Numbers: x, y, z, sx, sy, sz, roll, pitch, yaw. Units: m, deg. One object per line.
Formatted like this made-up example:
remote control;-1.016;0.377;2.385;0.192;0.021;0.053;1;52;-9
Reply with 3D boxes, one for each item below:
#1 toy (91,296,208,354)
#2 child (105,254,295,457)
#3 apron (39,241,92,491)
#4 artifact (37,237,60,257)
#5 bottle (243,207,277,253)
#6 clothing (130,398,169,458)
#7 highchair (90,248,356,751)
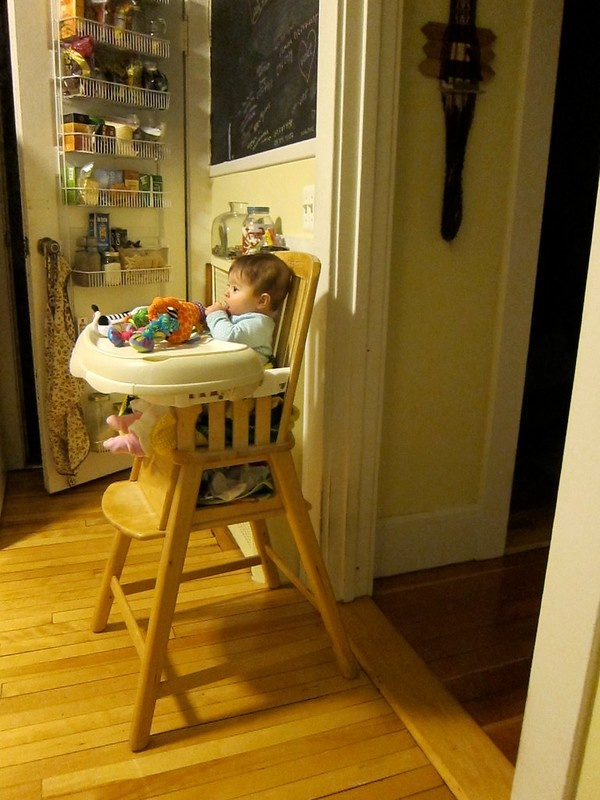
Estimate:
toy;-0.270;-0.151;1.264;0.169;0.084;0.234;-3;15;-11
child;-0.191;-0.145;1.509;0.322;0.365;0.160;-5;29;-16
apron;-0.869;-0.141;2.446;0.150;0.877;0.077;-9;17;-32
artifact;-0.877;-0.538;2.345;0.070;0.064;0.038;-10;17;-33
bottle;-0.115;-0.501;1.962;0.101;0.131;0.228;-2;15;-9
clothing;-0.276;0.056;1.337;0.046;0.110;0.088;15;-5;-35
highchair;-0.163;0.162;1.498;0.550;0.956;0.485;-6;16;-23
